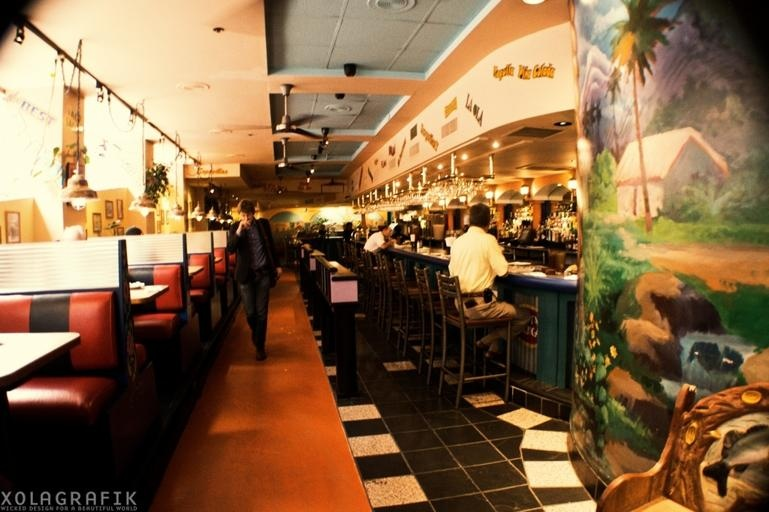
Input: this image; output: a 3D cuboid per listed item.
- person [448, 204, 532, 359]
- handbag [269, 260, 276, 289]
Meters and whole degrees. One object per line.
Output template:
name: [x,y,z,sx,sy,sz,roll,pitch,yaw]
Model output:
person: [1.079,0.278,5.437,0.798,1.599,0.679,1,12,6]
handbag: [-1.386,0.216,6.508,0.076,0.250,0.179,5,2,-30]
